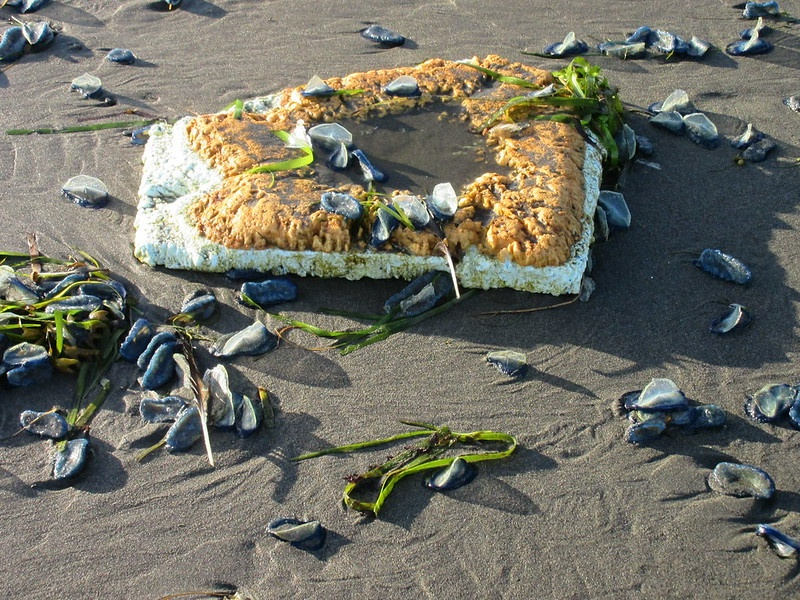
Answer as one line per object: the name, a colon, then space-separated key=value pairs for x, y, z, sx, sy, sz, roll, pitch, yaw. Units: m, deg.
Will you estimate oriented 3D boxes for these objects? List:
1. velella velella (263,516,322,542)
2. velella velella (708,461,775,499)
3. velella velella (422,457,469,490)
velella velella: x=-0.748 y=1.635 z=7.694 sx=0.265 sy=0.074 sz=0.190 roll=-1 pitch=35 yaw=1
velella velella: x=2.460 y=1.309 z=7.801 sx=0.348 sy=0.251 sz=0.096 roll=-14 pitch=83 yaw=38
velella velella: x=0.351 y=1.290 z=7.852 sx=0.342 sy=0.109 sz=0.152 roll=-21 pitch=51 yaw=-13
